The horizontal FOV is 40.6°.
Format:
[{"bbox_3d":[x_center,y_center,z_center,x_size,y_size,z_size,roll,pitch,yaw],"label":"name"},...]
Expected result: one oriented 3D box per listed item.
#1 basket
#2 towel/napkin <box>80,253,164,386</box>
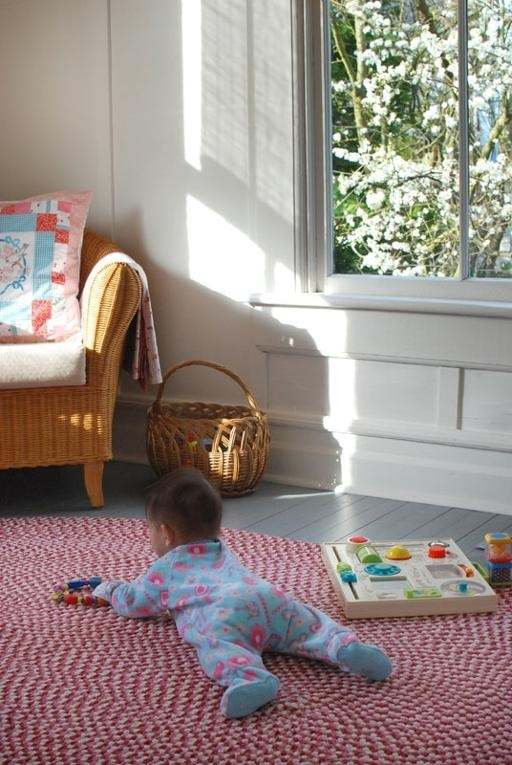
[{"bbox_3d":[-0.163,0.154,2.263,0.417,0.371,0.300,3,6,16],"label":"basket"},{"bbox_3d":[-0.406,-0.164,2.142,0.309,0.411,0.123,1,32,3],"label":"towel/napkin"}]
